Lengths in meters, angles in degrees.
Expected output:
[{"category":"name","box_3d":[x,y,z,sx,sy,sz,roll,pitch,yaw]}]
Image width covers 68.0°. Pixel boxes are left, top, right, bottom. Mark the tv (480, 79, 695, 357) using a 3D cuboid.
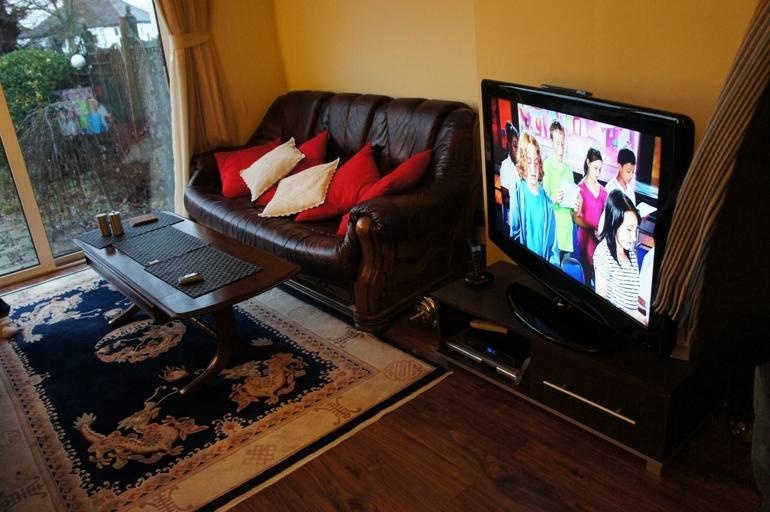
[{"category":"tv","box_3d":[0.901,-0.176,2.469,0.260,0.832,1.221,-17,32,-21]}]
